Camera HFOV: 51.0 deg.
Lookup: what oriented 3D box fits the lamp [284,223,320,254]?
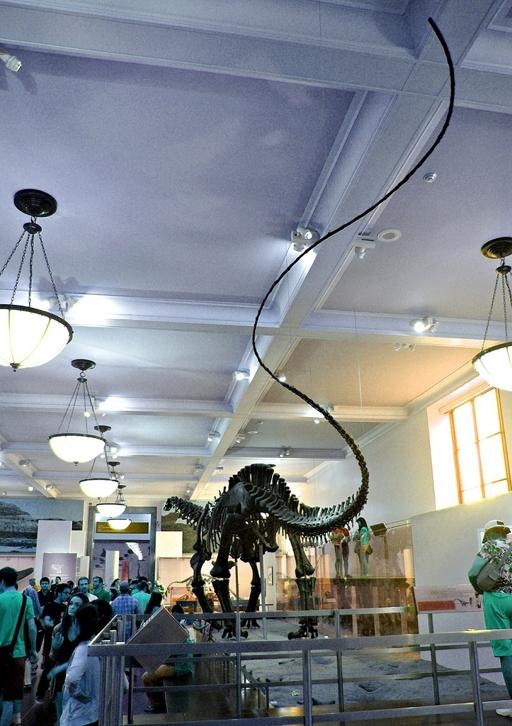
[{"bbox_3d":[0.378,-0.977,4.299,0.324,0.225,0.138,-21,-41,-47],"label":"lamp"}]
